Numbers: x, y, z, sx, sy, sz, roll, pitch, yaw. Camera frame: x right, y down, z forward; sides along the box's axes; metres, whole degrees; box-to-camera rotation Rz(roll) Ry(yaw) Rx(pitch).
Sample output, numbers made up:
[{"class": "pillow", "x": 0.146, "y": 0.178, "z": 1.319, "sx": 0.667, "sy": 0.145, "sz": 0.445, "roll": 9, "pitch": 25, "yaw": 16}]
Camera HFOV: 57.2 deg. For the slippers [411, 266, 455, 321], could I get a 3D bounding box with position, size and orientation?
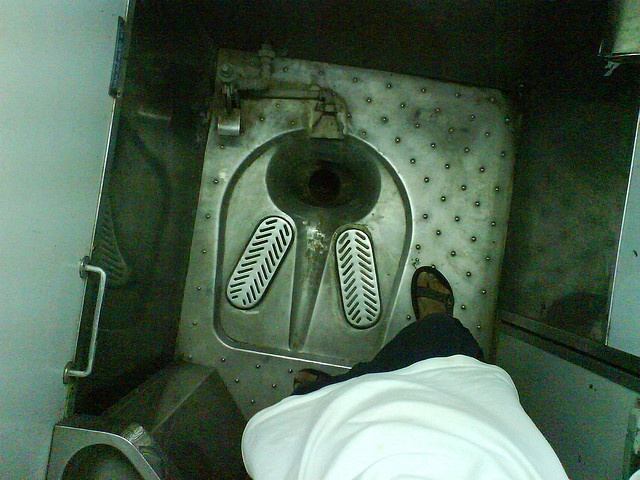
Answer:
[{"class": "slippers", "x": 0.381, "y": 0.165, "z": 1.808, "sx": 0.130, "sy": 0.054, "sz": 0.155, "roll": -11, "pitch": 90, "yaw": 9}]
